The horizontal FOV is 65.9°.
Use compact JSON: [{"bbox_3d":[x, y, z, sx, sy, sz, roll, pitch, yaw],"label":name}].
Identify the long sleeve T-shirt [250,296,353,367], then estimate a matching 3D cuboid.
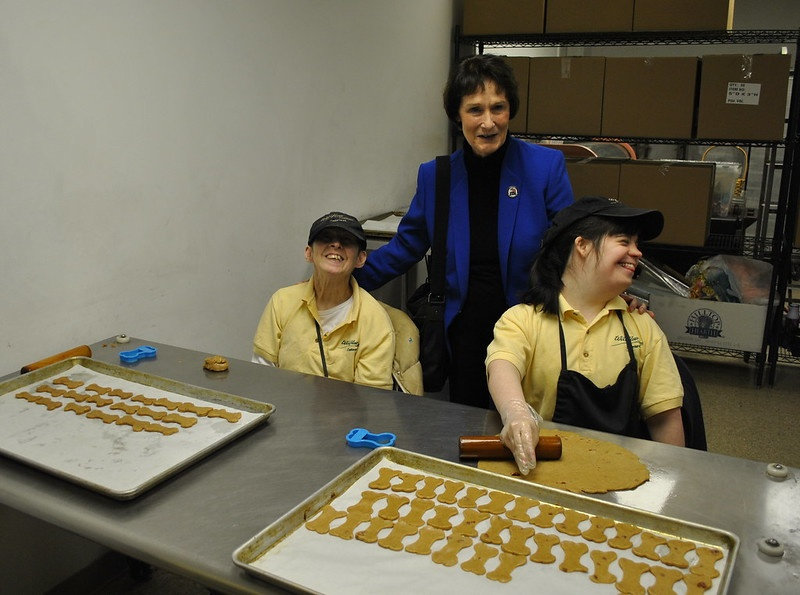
[{"bbox_3d":[-0.357,0.056,2.199,0.296,0.256,0.266,-4,19,-24],"label":"long sleeve T-shirt"}]
